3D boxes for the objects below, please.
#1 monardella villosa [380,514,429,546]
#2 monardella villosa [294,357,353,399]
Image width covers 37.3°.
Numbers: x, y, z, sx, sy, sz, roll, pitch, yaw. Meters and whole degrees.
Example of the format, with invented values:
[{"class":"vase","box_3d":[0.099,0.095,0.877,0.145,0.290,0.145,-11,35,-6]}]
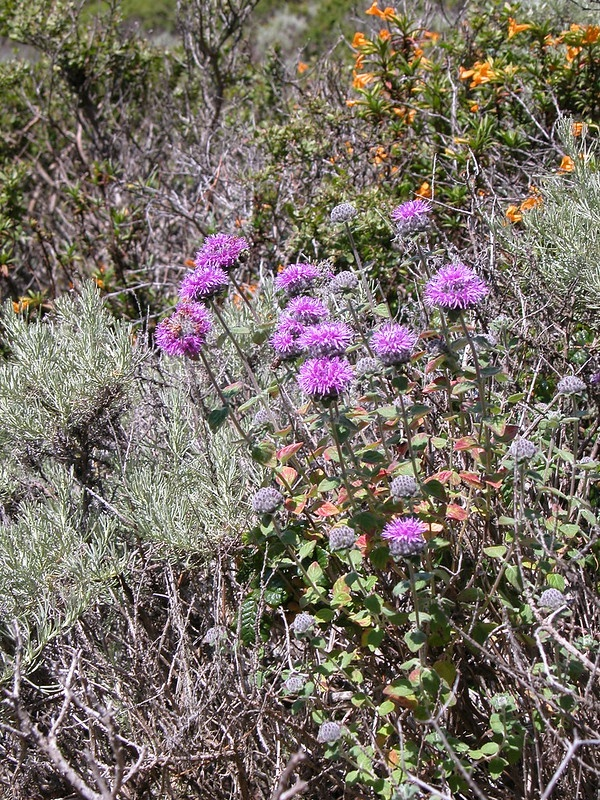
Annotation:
[{"class":"monardella villosa","box_3d":[0.269,0.317,2.200,0.092,0.040,0.089,-9,13,-40]},{"class":"monardella villosa","box_3d":[0.066,-0.060,2.339,0.136,0.073,0.119,2,30,9]}]
